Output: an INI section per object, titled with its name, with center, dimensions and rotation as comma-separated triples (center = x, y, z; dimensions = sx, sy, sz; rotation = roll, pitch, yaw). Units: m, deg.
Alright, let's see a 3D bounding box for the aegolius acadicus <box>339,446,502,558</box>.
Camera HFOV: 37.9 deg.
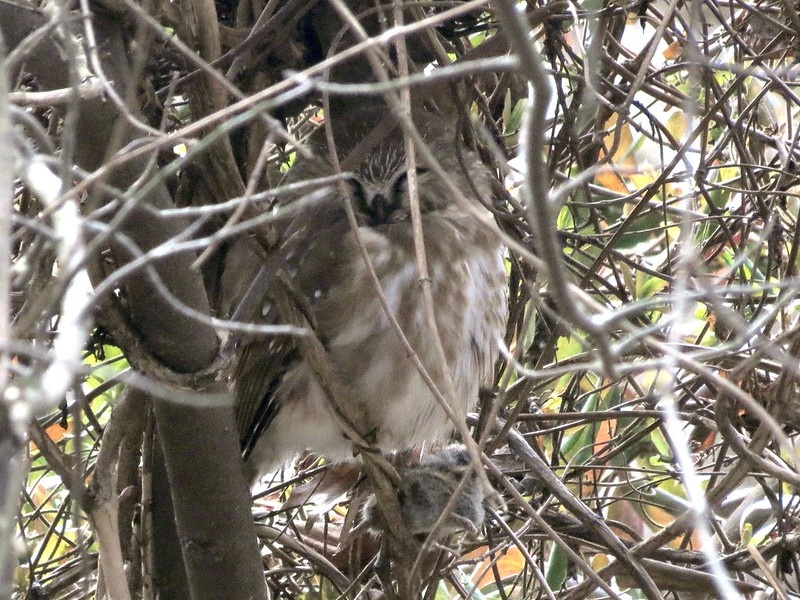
[aegolius acadicus]
center = 0.080, 0.406, 2.539
dimensions = 0.161, 0.230, 0.542
rotation = -36, -31, 33
